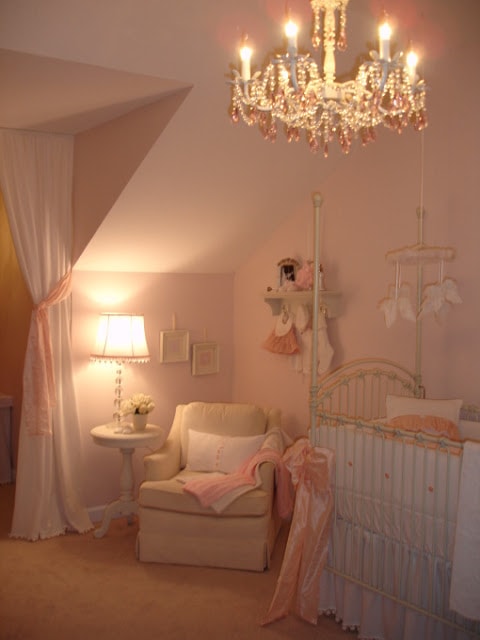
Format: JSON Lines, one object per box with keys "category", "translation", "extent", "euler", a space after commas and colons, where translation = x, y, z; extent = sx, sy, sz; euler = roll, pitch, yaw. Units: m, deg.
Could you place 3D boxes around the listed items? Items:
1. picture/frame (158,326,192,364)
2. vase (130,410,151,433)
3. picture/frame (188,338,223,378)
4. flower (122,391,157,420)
{"category": "picture/frame", "translation": [-0.545, 0.199, 4.322], "extent": [0.046, 0.297, 0.270], "euler": [3, 5, 43]}
{"category": "vase", "translation": [-0.692, 0.695, 3.674], "extent": [0.105, 0.133, 0.116], "euler": [2, 6, -1]}
{"category": "picture/frame", "translation": [-0.314, 0.320, 4.569], "extent": [0.049, 0.325, 0.309], "euler": [2, 3, 40]}
{"category": "flower", "translation": [-0.724, 0.573, 3.685], "extent": [0.187, 0.150, 0.193], "euler": [3, -8, -23]}
